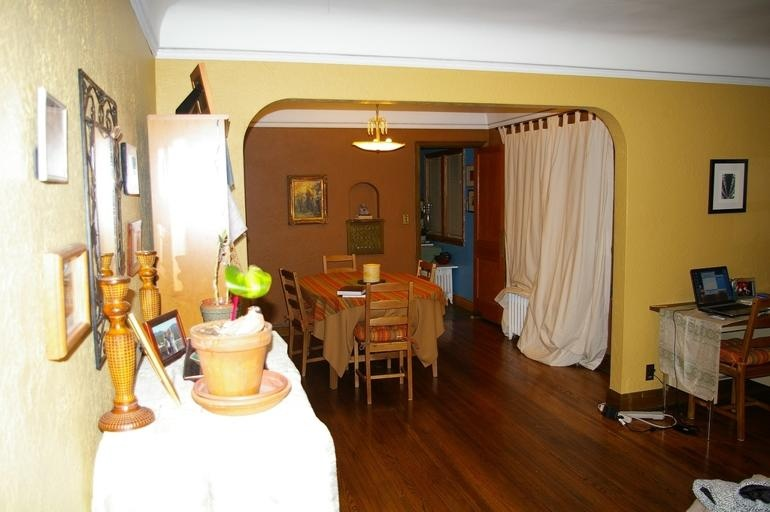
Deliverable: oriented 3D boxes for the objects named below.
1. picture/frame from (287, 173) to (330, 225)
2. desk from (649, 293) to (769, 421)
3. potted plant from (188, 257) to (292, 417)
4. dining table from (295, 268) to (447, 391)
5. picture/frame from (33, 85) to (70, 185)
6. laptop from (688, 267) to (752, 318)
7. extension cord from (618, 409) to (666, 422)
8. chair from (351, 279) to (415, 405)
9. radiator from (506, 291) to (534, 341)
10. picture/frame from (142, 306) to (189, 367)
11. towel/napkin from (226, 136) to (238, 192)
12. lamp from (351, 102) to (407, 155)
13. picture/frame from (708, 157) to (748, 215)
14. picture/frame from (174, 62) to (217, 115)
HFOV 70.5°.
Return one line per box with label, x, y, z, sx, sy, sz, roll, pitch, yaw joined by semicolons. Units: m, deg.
picture/frame;-1.053;-0.774;7.288;0.641;0.805;0.072;-1;4;-20
desk;2.816;0.723;4.763;1.102;0.886;0.911;-2;4;-14
potted plant;-0.551;0.309;2.283;0.525;0.735;0.512;-1;6;-10
dining table;-0.141;0.885;5.647;1.052;0.681;1.409;-2;8;-16
picture/frame;-1.226;-0.435;2.008;0.076;0.334;0.307;-4;10;-19
laptop;2.858;0.301;4.651;0.449;0.352;0.382;-4;8;-20
extension cord;2.222;1.379;4.705;0.273;0.073;0.174;0;0;2
chair;-0.026;0.747;5.374;0.577;1.118;0.958;-1;10;-1
radiator;1.621;0.737;6.853;0.142;0.588;0.401;-5;11;-23
picture/frame;-1.011;0.388;2.581;0.278;0.214;0.031;-22;-5;36
towel/napkin;-1.051;-0.644;3.743;0.078;0.104;0.477;-2;-15;-10
lamp;-0.066;-1.478;6.542;0.648;0.739;0.673;1;15;7
picture/frame;3.112;-0.652;4.975;0.453;0.566;0.040;-5;8;-13
picture/frame;-1.257;-1.095;3.570;0.233;0.456;0.442;3;17;-24
